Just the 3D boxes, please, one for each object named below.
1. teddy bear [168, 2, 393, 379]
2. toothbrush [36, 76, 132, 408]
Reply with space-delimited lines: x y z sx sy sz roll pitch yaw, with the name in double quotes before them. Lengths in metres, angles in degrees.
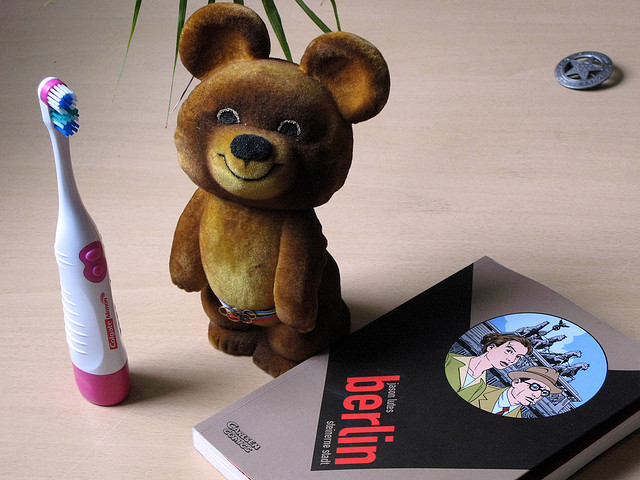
"teddy bear" -0.054 -0.040 0.667 0.190 0.359 0.193 -3 17 -12
"toothbrush" -0.203 0.018 0.598 0.052 0.311 0.055 -4 18 -16
